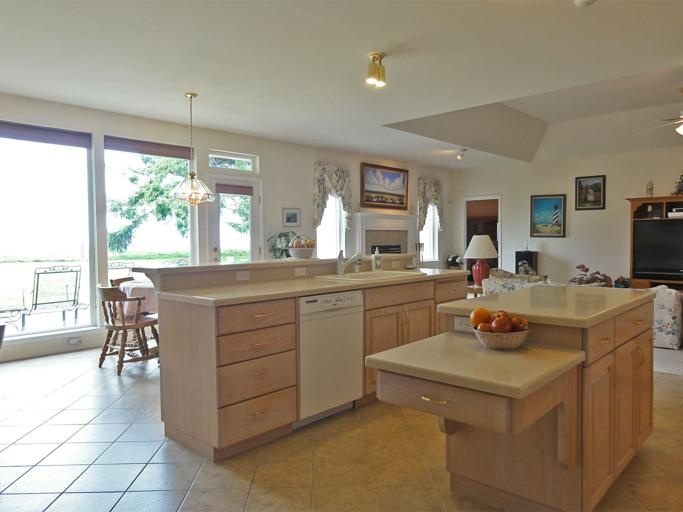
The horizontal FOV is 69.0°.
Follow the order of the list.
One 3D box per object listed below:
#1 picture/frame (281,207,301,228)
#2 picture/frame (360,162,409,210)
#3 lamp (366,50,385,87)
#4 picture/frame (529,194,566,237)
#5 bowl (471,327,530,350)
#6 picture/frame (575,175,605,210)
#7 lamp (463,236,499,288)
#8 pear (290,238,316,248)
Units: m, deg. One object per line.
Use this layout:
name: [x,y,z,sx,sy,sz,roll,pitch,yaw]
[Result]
picture/frame: [-0.854,-0.636,8.199,0.013,0.262,0.362,-3,-3,41]
picture/frame: [0.805,-1.387,9.851,0.038,0.637,1.084,-1,-2,42]
lamp: [0.343,-1.758,4.682,0.165,0.246,0.182,-4,23,-14]
picture/frame: [4.259,-0.825,10.169,0.891,1.151,0.055,2,5,43]
bowl: [0.887,0.457,2.752,0.297,0.124,0.140,-1,12,-3]
picture/frame: [4.847,-1.231,9.634,0.724,0.866,0.062,0,0,43]
lamp: [2.062,0.087,7.364,0.525,0.778,0.519,0,-1,-2]
pear: [-0.381,-0.114,4.750,0.166,0.072,0.170,-2,1,-45]
